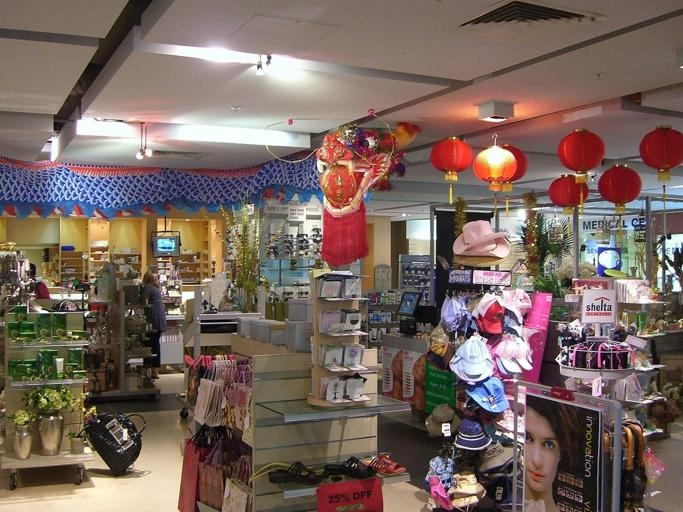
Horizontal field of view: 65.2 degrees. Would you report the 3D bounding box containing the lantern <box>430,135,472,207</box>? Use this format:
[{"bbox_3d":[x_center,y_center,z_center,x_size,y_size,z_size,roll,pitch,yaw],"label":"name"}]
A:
[{"bbox_3d":[1.369,-1.227,6.625,0.492,0.512,0.344,-1,-1,12],"label":"lantern"}]

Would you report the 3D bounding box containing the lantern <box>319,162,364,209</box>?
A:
[{"bbox_3d":[0.019,-0.781,5.825,0.379,0.483,0.478,-1,9,1],"label":"lantern"}]

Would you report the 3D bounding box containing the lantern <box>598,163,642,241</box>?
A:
[{"bbox_3d":[3.634,-0.891,6.964,0.465,0.753,0.415,-1,-1,27],"label":"lantern"}]

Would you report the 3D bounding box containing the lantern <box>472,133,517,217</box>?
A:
[{"bbox_3d":[1.891,-1.100,6.528,0.514,0.580,0.369,-1,-1,12],"label":"lantern"}]

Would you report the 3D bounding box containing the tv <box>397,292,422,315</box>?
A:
[{"bbox_3d":[1.125,0.796,8.806,0.288,0.265,0.429,-1,-1,-31],"label":"tv"}]

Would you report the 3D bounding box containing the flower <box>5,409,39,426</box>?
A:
[{"bbox_3d":[-3.433,1.748,5.817,0.234,0.097,0.225,5,1,4],"label":"flower"}]

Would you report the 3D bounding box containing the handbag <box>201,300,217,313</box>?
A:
[{"bbox_3d":[-1.963,0.748,7.872,0.189,0.178,0.163,-9,-11,34],"label":"handbag"}]

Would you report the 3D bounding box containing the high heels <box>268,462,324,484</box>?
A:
[{"bbox_3d":[-0.329,1.568,3.923,0.331,0.126,0.172,1,-5,-8],"label":"high heels"}]

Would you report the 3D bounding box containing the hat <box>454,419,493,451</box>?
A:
[{"bbox_3d":[1.141,1.577,4.687,0.292,0.155,0.289,-9,-3,38],"label":"hat"}]

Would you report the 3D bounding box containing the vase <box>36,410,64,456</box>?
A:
[{"bbox_3d":[-3.178,1.940,5.842,0.241,0.455,0.234,-1,-1,-28],"label":"vase"}]

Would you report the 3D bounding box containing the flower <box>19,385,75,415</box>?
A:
[{"bbox_3d":[-3.206,1.562,5.841,0.394,0.212,0.387,3,-3,-12],"label":"flower"}]

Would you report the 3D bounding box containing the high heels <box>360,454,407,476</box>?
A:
[{"bbox_3d":[0.308,1.633,4.195,0.145,0.104,0.387,2,-7,-33],"label":"high heels"}]

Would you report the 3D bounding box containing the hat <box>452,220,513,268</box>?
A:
[{"bbox_3d":[1.388,-0.114,5.568,0.476,0.247,0.526,-20,11,-15],"label":"hat"}]

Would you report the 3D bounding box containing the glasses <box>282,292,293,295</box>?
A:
[{"bbox_3d":[-0.888,0.641,8.946,0.160,0.065,0.056,-1,-1,-17],"label":"glasses"}]

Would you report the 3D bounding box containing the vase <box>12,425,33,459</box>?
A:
[{"bbox_3d":[-3.432,1.986,5.750,0.169,0.358,0.281,-1,-1,-30],"label":"vase"}]

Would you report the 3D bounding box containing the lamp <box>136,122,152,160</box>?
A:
[{"bbox_3d":[-2.639,-1.521,7.139,0.157,0.407,0.681,-1,-1,-21],"label":"lamp"}]

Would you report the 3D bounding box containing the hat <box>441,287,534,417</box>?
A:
[{"bbox_3d":[1.357,0.867,4.863,0.804,0.828,0.543,-1,-1,-8],"label":"hat"}]

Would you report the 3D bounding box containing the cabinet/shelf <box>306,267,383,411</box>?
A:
[{"bbox_3d":[0.008,0.603,4.079,0.512,0.984,0.511,-1,-1,2],"label":"cabinet/shelf"}]

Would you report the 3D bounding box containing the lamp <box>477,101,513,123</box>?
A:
[{"bbox_3d":[1.892,-1.768,6.517,0.250,0.143,0.248,3,-5,-28],"label":"lamp"}]

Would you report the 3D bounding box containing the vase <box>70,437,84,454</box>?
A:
[{"bbox_3d":[-2.892,2.086,5.873,0.154,0.143,0.151,3,-4,-15],"label":"vase"}]

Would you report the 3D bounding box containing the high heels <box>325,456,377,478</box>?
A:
[{"bbox_3d":[0.070,1.614,4.044,0.254,0.096,0.175,1,-10,1],"label":"high heels"}]

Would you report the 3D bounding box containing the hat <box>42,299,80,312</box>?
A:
[{"bbox_3d":[-4.889,0.864,9.241,0.500,0.181,0.350,4,-6,-19],"label":"hat"}]

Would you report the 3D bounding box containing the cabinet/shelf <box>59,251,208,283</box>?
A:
[{"bbox_3d":[-6.337,0.360,16.333,4.413,1.054,0.961,-1,-1,-6],"label":"cabinet/shelf"}]

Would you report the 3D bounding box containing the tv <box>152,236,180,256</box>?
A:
[{"bbox_3d":[-4.830,-0.271,14.747,0.576,0.411,0.557,0,-3,-16],"label":"tv"}]
